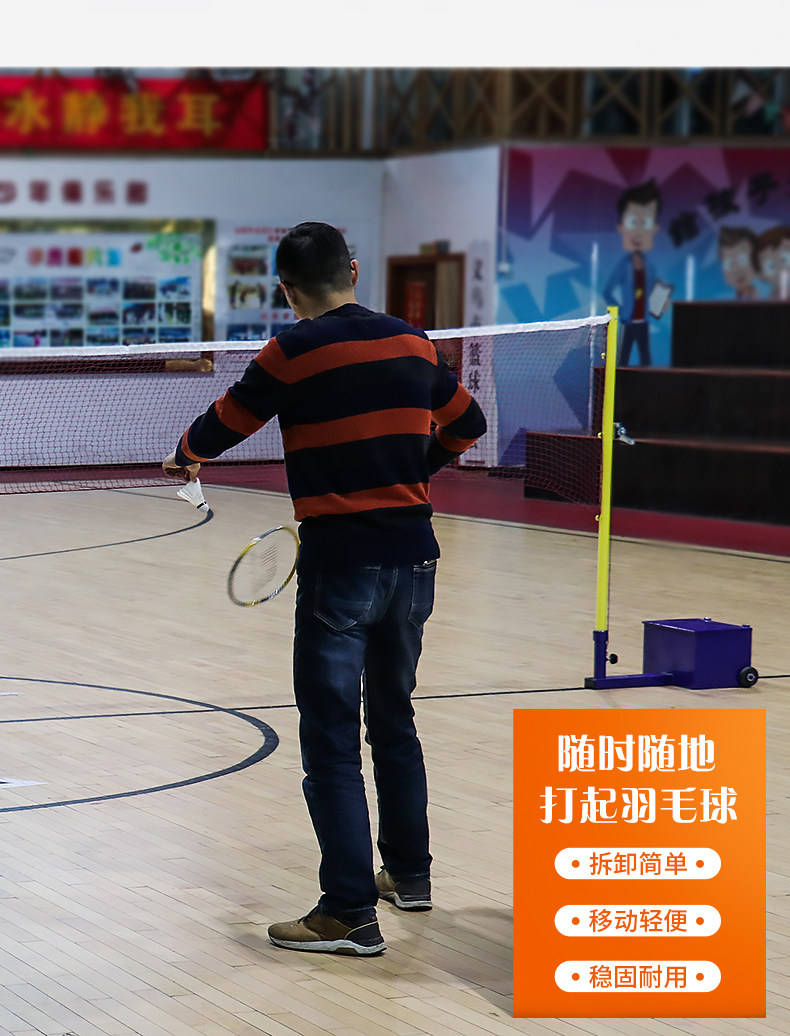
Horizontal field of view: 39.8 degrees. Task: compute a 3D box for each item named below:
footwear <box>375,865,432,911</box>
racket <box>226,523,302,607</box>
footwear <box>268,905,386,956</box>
[{"bbox_3d":[0.022,0.761,2.256,0.064,0.066,0.157,1,2,-21],"label":"footwear"},{"bbox_3d":[-0.440,0.171,3.718,0.020,0.341,0.324,34,46,27],"label":"racket"},{"bbox_3d":[-0.123,0.758,2.025,0.231,0.085,0.081,2,-8,16],"label":"footwear"}]
